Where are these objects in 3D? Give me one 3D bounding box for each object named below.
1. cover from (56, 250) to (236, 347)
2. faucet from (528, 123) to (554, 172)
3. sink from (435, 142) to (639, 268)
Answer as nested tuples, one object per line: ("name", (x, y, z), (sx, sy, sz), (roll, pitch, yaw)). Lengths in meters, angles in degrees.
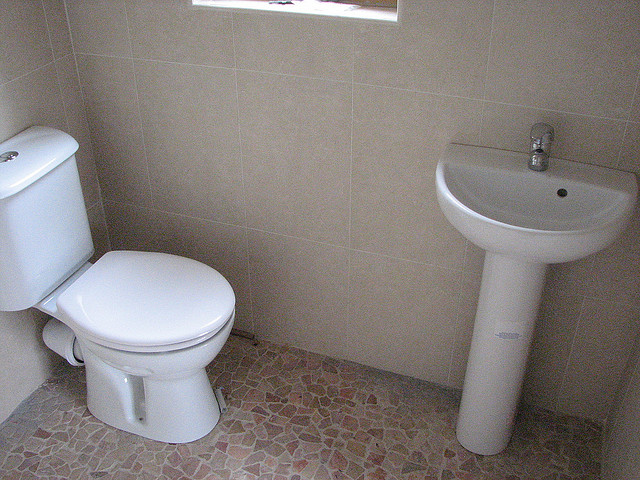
("cover", (-0.608, 0.203, 1.968), (0.594, 0.082, 0.433), (15, 33, 16))
("faucet", (0.696, -0.301, 1.716), (0.079, 0.142, 0.096), (17, 35, 17))
("sink", (0.642, -0.112, 1.666), (0.598, 0.195, 0.432), (13, 33, 12))
